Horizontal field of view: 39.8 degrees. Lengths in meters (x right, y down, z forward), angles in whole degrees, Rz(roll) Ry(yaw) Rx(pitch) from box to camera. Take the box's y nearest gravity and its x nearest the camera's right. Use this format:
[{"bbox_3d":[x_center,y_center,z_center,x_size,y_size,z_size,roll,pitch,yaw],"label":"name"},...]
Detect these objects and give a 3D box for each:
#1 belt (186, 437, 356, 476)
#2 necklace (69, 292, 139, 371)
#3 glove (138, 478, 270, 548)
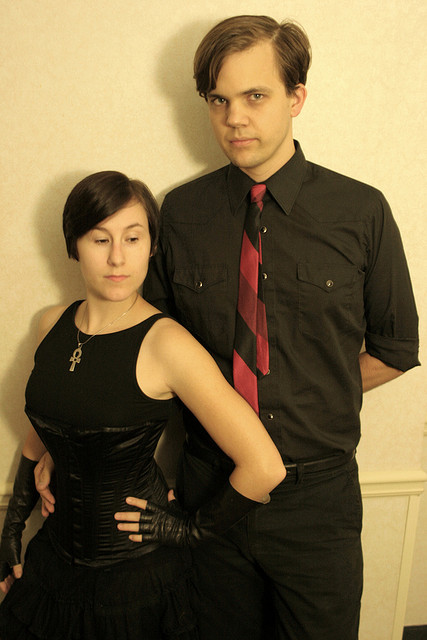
[{"bbox_3d":[0.150,0.368,1.627,0.480,0.090,0.159,-3,9,6],"label":"belt"},{"bbox_3d":[-0.277,0.027,1.497,0.172,0.160,0.139,-4,10,1],"label":"necklace"},{"bbox_3d":[-0.039,0.470,1.451,0.282,0.167,0.104,-4,10,1],"label":"glove"}]
